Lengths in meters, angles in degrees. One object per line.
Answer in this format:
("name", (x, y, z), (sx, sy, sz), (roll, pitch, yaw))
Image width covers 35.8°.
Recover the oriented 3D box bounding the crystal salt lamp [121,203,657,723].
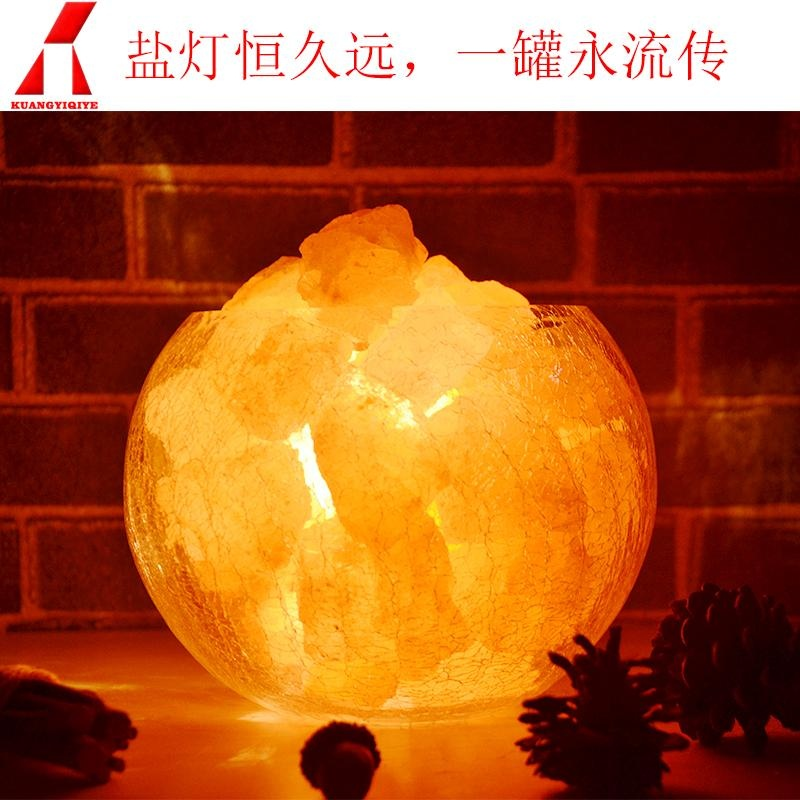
("crystal salt lamp", (-0.026, 0.048, 0.891), (0.319, 0.295, 0.317), (1, -6, -14))
